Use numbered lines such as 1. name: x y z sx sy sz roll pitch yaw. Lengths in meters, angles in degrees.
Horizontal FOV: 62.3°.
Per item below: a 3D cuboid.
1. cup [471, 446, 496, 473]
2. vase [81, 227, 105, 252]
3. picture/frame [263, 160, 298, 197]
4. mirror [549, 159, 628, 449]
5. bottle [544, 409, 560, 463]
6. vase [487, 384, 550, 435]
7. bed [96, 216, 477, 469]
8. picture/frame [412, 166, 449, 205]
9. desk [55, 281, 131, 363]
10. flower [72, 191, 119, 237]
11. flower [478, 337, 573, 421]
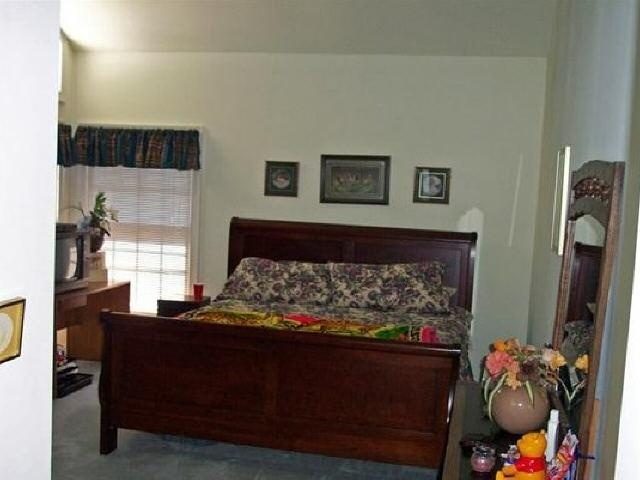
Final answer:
1. cup: 0.668 0.900 2.173 0.088 0.082 0.091 0 -6 0
2. vase: -2.161 -0.010 4.992 0.247 0.279 0.245 1 -2 -40
3. picture/frame: -0.385 -0.628 5.359 0.337 0.365 0.026 2 4 2
4. mirror: 1.152 0.179 2.302 0.216 1.053 1.072 4 6 24
5. bottle: 0.913 0.762 2.078 0.042 0.197 0.186 4 6 25
6. vase: 0.917 0.776 2.425 0.225 0.225 0.234 4 7 17
7. bed: 0.025 0.865 4.050 1.929 1.251 2.024 2 3 16
8. picture/frame: 1.098 -0.539 5.156 0.344 0.372 0.026 1 3 3
9. desk: -1.922 0.695 4.416 0.437 0.763 0.793 0 4 9
10. flower: -2.204 -0.216 5.293 0.348 0.425 0.387 9 6 9
11. flower: 0.938 0.587 2.479 0.352 0.298 0.303 7 21 34
